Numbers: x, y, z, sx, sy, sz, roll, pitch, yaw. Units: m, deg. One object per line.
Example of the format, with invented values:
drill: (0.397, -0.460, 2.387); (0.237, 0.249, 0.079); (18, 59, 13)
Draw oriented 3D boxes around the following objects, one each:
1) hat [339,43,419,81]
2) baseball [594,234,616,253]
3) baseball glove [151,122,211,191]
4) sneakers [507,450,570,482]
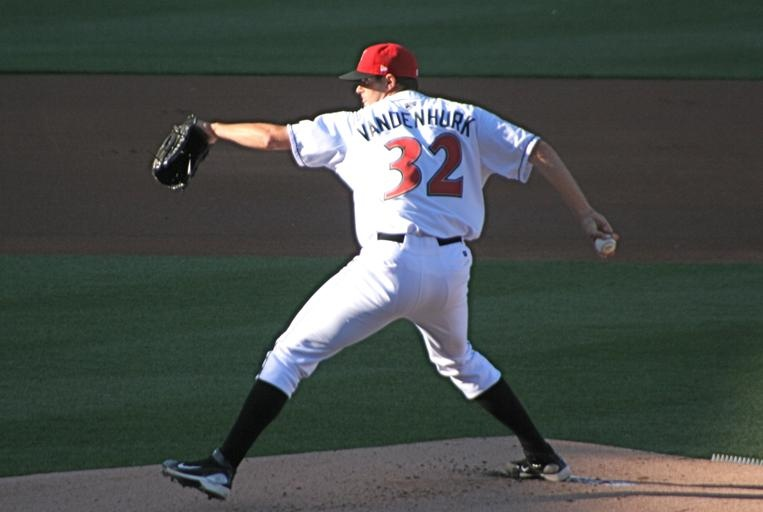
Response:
hat: (-0.031, -1.094, 6.754); (0.495, 0.227, 0.294); (0, 5, -18)
baseball: (1.292, -0.057, 6.684); (0.090, 0.113, 0.056); (0, 7, 12)
baseball glove: (-1.162, -0.568, 6.715); (0.145, 0.401, 0.302); (32, -15, -5)
sneakers: (0.940, 1.252, 6.883); (0.395, 0.173, 0.142); (0, -2, -8)
